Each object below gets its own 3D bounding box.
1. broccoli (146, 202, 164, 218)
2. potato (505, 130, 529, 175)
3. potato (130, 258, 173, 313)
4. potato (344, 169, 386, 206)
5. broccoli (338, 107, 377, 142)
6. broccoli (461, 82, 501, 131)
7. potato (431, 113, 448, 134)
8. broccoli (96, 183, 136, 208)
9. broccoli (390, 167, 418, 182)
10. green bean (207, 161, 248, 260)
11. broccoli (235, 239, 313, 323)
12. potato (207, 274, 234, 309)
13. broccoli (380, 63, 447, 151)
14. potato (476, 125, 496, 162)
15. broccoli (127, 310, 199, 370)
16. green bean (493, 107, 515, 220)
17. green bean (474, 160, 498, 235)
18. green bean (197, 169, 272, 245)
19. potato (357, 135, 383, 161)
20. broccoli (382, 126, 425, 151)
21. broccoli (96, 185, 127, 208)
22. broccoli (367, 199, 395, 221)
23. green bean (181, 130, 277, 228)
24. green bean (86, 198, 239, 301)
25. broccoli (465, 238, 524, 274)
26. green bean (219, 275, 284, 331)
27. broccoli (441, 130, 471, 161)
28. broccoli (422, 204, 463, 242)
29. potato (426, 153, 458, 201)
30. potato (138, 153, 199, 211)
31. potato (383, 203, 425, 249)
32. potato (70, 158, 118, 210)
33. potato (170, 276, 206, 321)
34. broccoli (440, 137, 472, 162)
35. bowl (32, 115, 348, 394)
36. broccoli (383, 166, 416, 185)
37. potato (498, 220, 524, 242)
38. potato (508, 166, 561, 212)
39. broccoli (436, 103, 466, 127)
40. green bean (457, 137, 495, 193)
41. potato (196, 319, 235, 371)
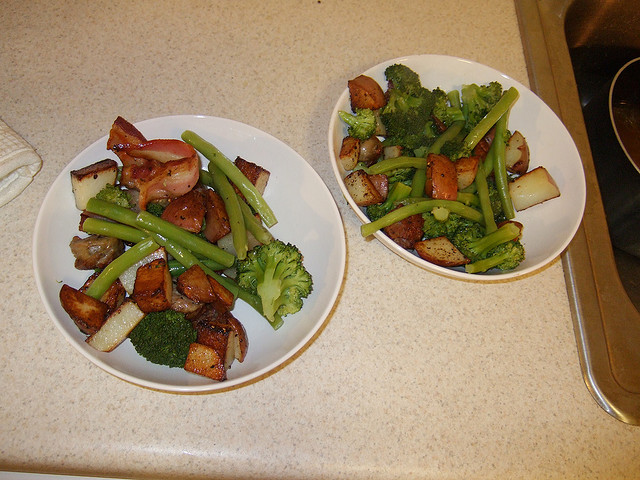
[{"bbox_3d":[-0.518,-0.091,1.776,0.051,0.020,0.036,27,83,11],"label":"broccoli"},{"bbox_3d":[0.659,-0.286,1.876,0.094,0.044,0.122,11,96,20],"label":"potato"},{"bbox_3d":[-0.502,0.139,1.698,0.097,0.074,0.150,-12,38,-10],"label":"potato"},{"bbox_3d":[0.133,-0.156,1.775,0.101,0.029,0.111,-26,96,29],"label":"potato"},{"bbox_3d":[0.109,-0.379,1.834,0.155,0.074,0.130,6,31,14],"label":"broccoli"},{"bbox_3d":[0.532,-0.435,1.886,0.132,0.044,0.148,6,93,16],"label":"broccoli"},{"bbox_3d":[0.402,-0.393,1.886,0.020,0.017,0.074,-38,104,15],"label":"potato"},{"bbox_3d":[-0.628,-0.135,1.727,0.034,0.074,0.077,-56,51,21],"label":"broccoli"},{"bbox_3d":[0.280,-0.220,1.866,0.058,0.051,0.024,-17,68,36],"label":"broccoli"},{"bbox_3d":[-0.289,-0.109,1.827,0.075,0.055,0.352,-18,74,3],"label":"green bean"},{"bbox_3d":[-0.154,0.122,1.757,0.245,0.107,0.229,-14,46,-21],"label":"broccoli"},{"bbox_3d":[-0.297,0.148,1.729,0.136,0.036,0.074,29,91,46],"label":"potato"},{"bbox_3d":[0.276,-0.479,1.886,0.190,0.108,0.293,27,33,-4],"label":"broccoli"},{"bbox_3d":[0.557,-0.322,1.893,0.060,0.025,0.111,18,97,2],"label":"potato"},{"bbox_3d":[-0.462,0.291,1.668,0.194,0.080,0.171,27,77,6],"label":"broccoli"},{"bbox_3d":[0.596,-0.246,1.858,0.046,0.041,0.422,-2,84,-9],"label":"green bean"},{"bbox_3d":[0.537,-0.130,1.825,0.040,0.040,0.307,5,67,-25],"label":"green bean"},{"bbox_3d":[-0.276,-0.131,1.953,0.103,0.100,0.509,9,31,-31],"label":"green bean"},{"bbox_3d":[0.162,-0.297,1.881,0.081,0.069,0.063,-26,28,-6],"label":"potato"},{"bbox_3d":[0.285,-0.322,1.858,0.075,0.094,0.036,-15,95,-38],"label":"broccoli"},{"bbox_3d":[-0.634,-0.134,1.722,0.065,0.068,0.046,25,80,32],"label":"broccoli"},{"bbox_3d":[0.193,-0.095,1.809,0.080,0.044,0.053,-34,105,1],"label":"broccoli"},{"bbox_3d":[-0.297,-0.193,1.787,0.059,0.050,0.359,-41,82,15],"label":"green bean"},{"bbox_3d":[-0.497,-0.023,1.781,0.499,0.067,0.102,23,51,-15],"label":"green bean"},{"bbox_3d":[0.560,0.058,1.810,0.150,0.097,0.075,-18,28,24],"label":"broccoli"},{"bbox_3d":[-0.209,0.193,1.740,0.214,0.045,0.036,38,45,16],"label":"green bean"},{"bbox_3d":[0.459,-0.308,1.879,0.050,0.065,0.094,49,62,-4],"label":"broccoli"},{"bbox_3d":[0.386,-0.072,1.815,0.114,0.129,0.053,-21,38,21],"label":"broccoli"},{"bbox_3d":[0.416,-0.216,1.807,0.043,0.155,0.125,-9,96,-18],"label":"potato"},{"bbox_3d":[-0.449,-0.179,1.734,0.199,0.071,0.126,-40,99,10],"label":"potato"},{"bbox_3d":[0.281,-0.020,1.794,0.138,0.046,0.092,-23,77,-6],"label":"potato"},{"bbox_3d":[-0.692,-0.166,1.717,0.042,0.106,0.110,17,38,38],"label":"potato"},{"bbox_3d":[-0.394,0.170,1.700,0.105,0.034,0.108,31,75,-10],"label":"potato"},{"bbox_3d":[0.444,-0.294,1.836,0.074,0.035,0.080,4,68,6],"label":"broccoli"},{"bbox_3d":[-0.392,0.025,1.728,0.941,0.211,0.848,12,76,3],"label":"bowl"},{"bbox_3d":[0.264,-0.211,1.861,0.084,0.065,0.044,4,85,25],"label":"broccoli"},{"bbox_3d":[0.614,-0.019,1.817,0.069,0.018,0.069,-24,81,-34],"label":"potato"},{"bbox_3d":[0.697,-0.167,1.851,0.152,0.082,0.109,-14,76,-4],"label":"potato"},{"bbox_3d":[0.437,-0.420,1.883,0.075,0.033,0.066,14,89,-8],"label":"broccoli"},{"bbox_3d":[0.509,-0.238,1.848,0.218,0.035,0.027,-47,31,-2],"label":"green bean"},{"bbox_3d":[-0.306,0.308,1.667,0.119,0.035,0.133,7,87,9],"label":"potato"}]
